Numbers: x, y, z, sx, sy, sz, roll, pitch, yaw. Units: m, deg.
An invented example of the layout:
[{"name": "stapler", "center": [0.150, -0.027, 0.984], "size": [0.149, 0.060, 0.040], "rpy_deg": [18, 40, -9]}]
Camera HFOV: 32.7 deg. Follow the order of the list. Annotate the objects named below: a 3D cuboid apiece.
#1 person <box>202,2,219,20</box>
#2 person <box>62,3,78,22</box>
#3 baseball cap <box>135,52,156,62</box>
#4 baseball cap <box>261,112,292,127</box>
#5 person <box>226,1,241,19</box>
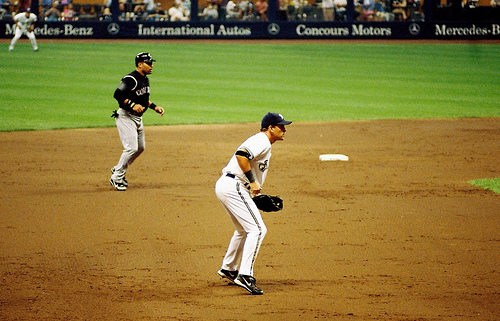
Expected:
[{"name": "person", "center": [-1.752, -6.646, 38.179], "size": [0.714, 0.761, 0.443], "rpy_deg": [-1, 10, -3]}, {"name": "person", "center": [-8.119, -6.660, 38.392], "size": [0.652, 0.719, 0.264], "rpy_deg": [-2, 11, -9]}, {"name": "baseball cap", "center": [-2.447, -2.345, 19.541], "size": [0.343, 0.146, 0.225], "rpy_deg": [-3, 10, -1]}, {"name": "baseball cap", "center": [0.489, -0.784, 16.794], "size": [0.483, 0.191, 0.285], "rpy_deg": [0, 7, -3]}, {"name": "person", "center": [-0.756, -6.646, 38.001], "size": [0.335, 0.764, 0.582], "rpy_deg": [-19, 34, -35]}]
